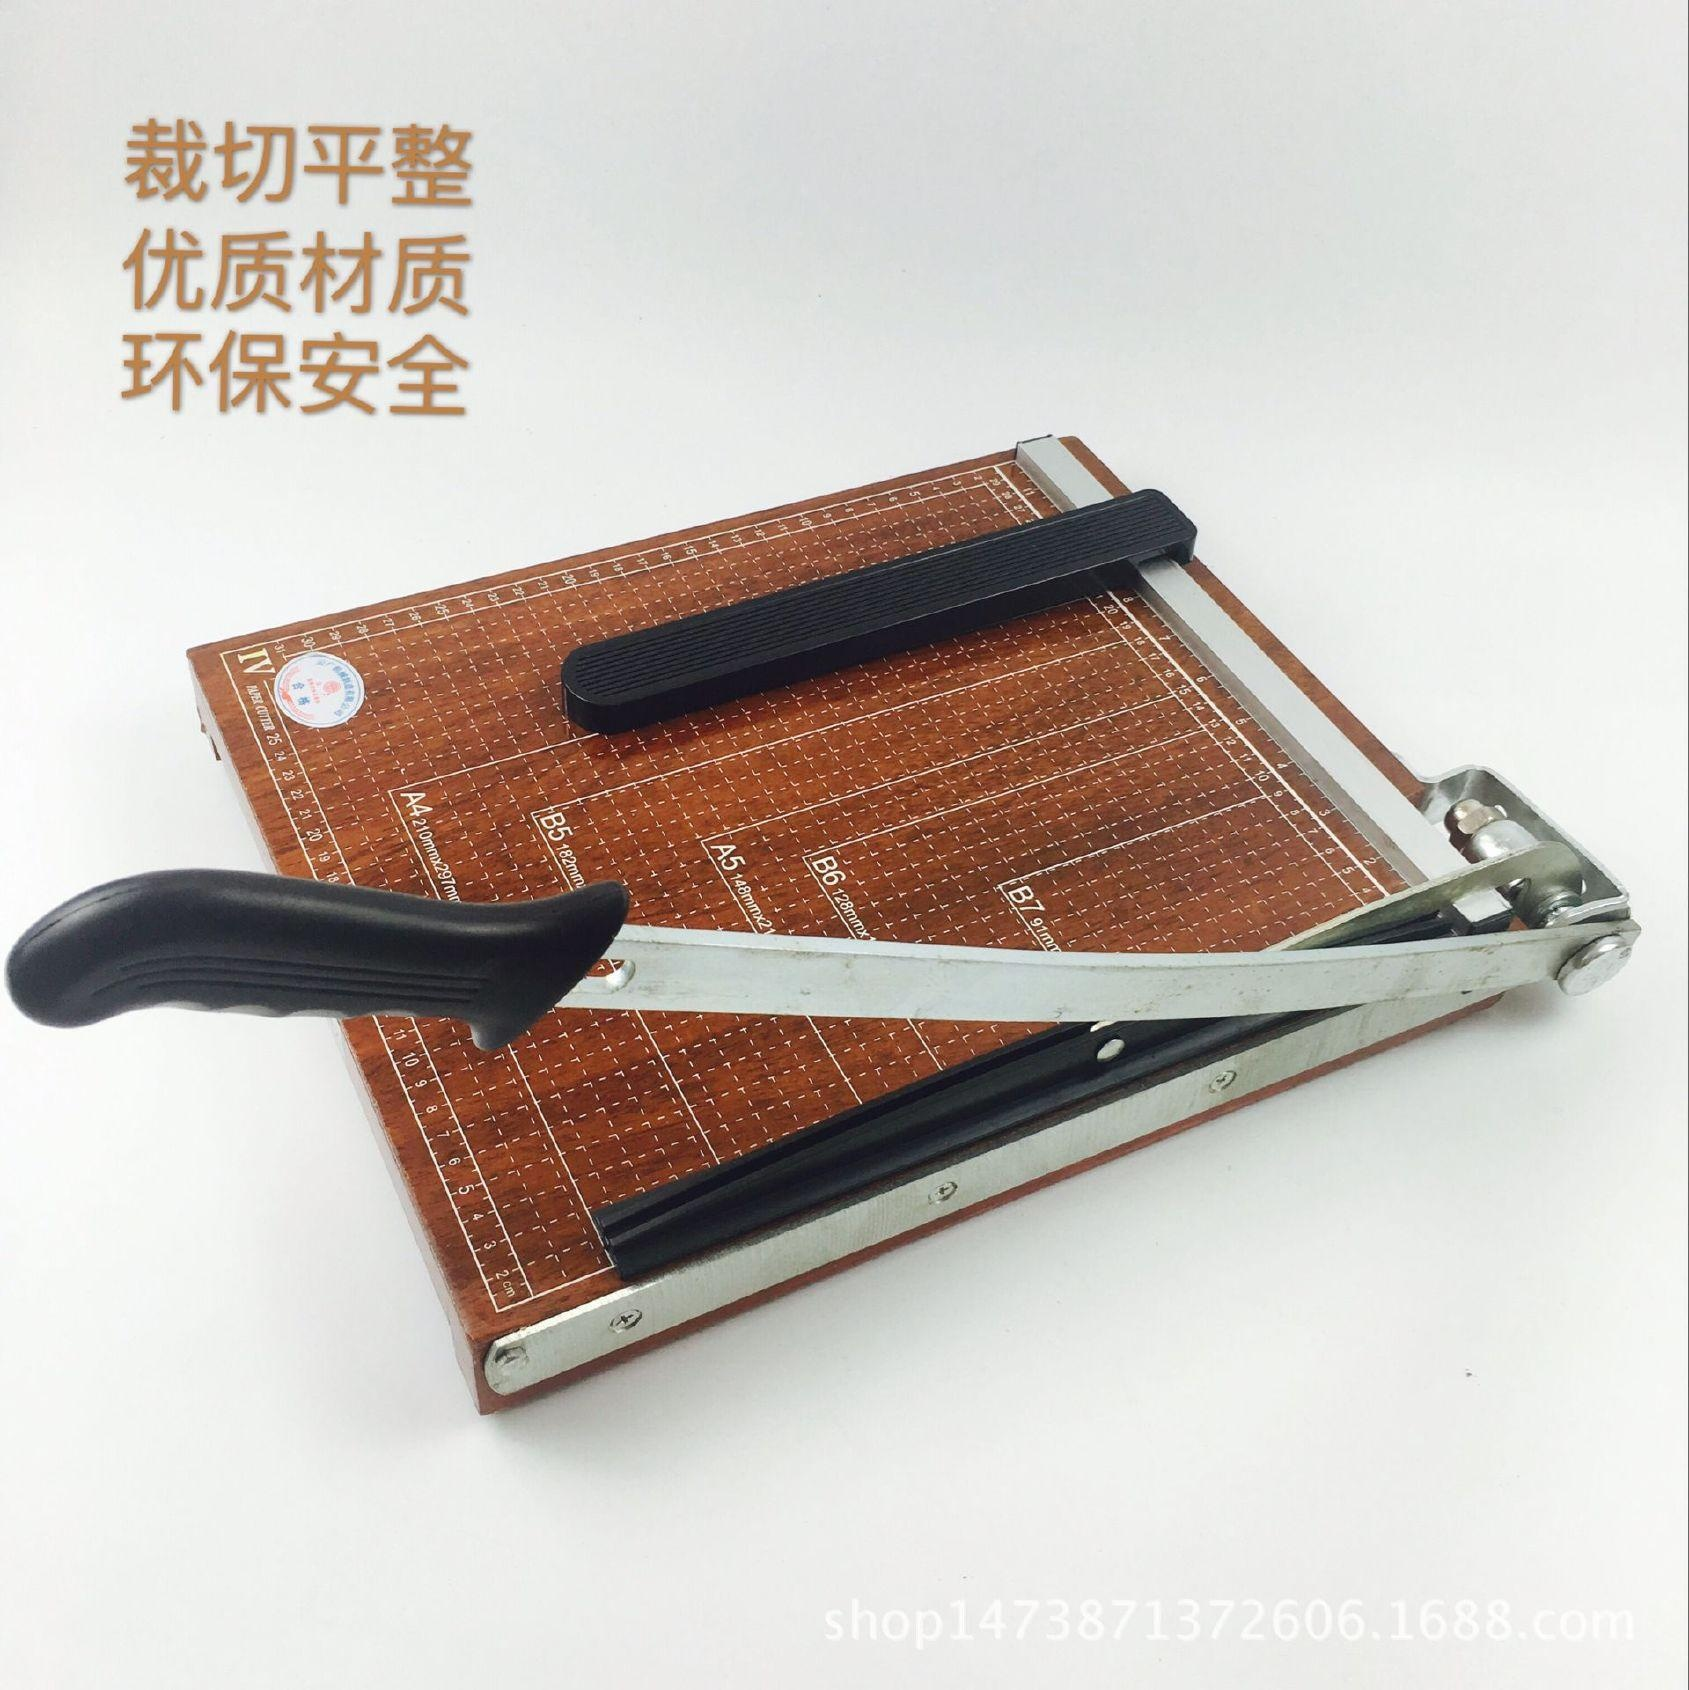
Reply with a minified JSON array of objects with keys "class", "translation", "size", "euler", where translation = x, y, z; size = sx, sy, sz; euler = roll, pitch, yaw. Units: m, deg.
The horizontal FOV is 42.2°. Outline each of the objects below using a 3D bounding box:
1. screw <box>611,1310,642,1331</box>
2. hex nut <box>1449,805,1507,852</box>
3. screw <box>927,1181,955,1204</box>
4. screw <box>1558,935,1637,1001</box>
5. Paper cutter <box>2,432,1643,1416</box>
[{"class":"screw","translation":[-0.193,0.421,1.935],"size":[0.029,0.009,0.037],"euler":[-12,-29,-8]},{"class":"hex nut","translation":[0.669,-0.020,2.341],"size":[0.045,0.053,0.018],"euler":[9,-47,31]},{"class":"screw","translation":[0.092,0.326,2.057],"size":[0.031,0.009,0.042],"euler":[-16,-28,-1]},{"class":"screw","translation":[0.762,0.121,2.236],"size":[0.068,0.023,0.089],"euler":[-7,-30,-17]},{"class":"Paper cutter","translation":[0.027,0.068,2.200],"size":[1.389,0.874,0.410],"euler":[-20,-43,-18]}]
